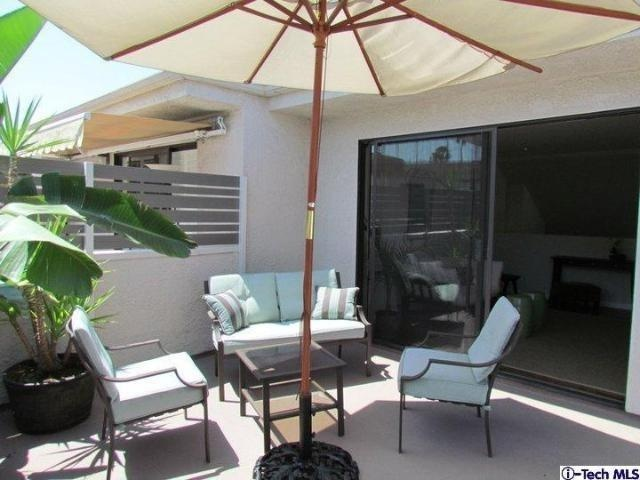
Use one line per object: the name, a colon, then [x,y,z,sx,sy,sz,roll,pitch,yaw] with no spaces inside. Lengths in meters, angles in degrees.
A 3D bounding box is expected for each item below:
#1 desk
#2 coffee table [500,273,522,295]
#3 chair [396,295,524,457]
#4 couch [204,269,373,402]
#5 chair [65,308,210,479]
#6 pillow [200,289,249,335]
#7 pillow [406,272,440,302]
desk: [4.817,0.752,7.994,0.914,0.745,0.328,2,-7,28]
coffee table: [3.554,0.815,8.512,0.403,0.385,0.400,-5,11,-13]
chair: [1.280,1.212,4.356,1.150,1.255,1.077,0,5,2]
couch: [-0.397,1.027,5.425,1.819,1.211,0.967,-2,6,-25]
chair: [-1.526,1.109,4.370,1.357,1.619,1.164,-4,12,-23]
pillow: [-1.076,0.790,5.074,0.128,0.424,0.427,-34,-10,27]
pillow: [1.271,0.577,5.635,0.121,0.334,0.310,-23,23,-23]
